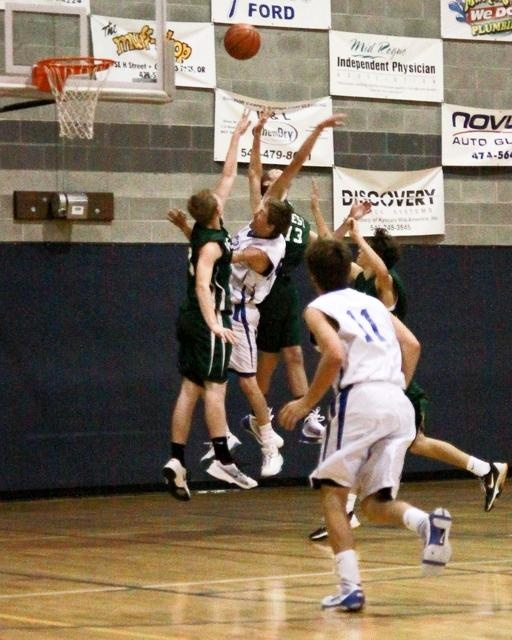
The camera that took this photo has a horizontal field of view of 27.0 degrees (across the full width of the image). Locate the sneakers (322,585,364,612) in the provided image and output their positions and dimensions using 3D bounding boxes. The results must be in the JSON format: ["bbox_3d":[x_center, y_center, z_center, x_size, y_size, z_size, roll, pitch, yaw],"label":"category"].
[{"bbox_3d":[0.298,0.940,3.617,0.067,0.076,0.173,6,-8,-38],"label":"sneakers"}]

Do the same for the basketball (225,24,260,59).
[{"bbox_3d":[-0.110,-1.874,7.153,0.228,0.238,0.162,0,2,28],"label":"basketball"}]

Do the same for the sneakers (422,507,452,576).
[{"bbox_3d":[0.579,0.704,3.417,0.084,0.203,0.094,5,0,-6],"label":"sneakers"}]

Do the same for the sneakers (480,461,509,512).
[{"bbox_3d":[1.292,0.876,5.851,0.157,0.329,0.117,12,-8,1],"label":"sneakers"}]
